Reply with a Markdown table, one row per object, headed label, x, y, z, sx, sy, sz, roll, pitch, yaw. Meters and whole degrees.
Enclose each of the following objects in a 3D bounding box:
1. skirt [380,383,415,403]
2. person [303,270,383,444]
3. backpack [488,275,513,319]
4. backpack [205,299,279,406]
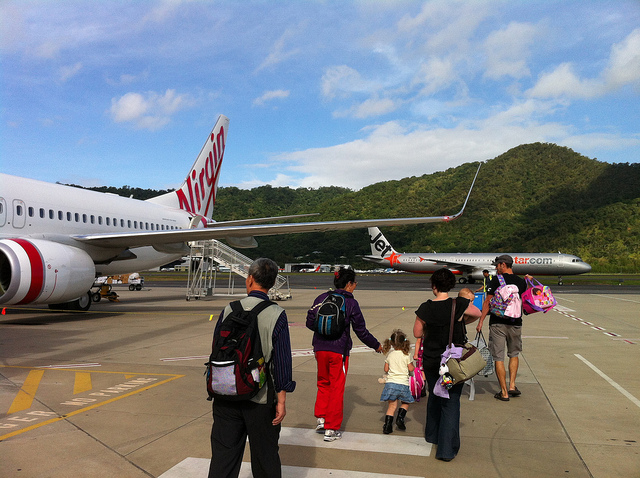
| label | x | y | z | sx | sy | sz | roll | pitch | yaw |
| --- | --- | --- | --- | --- | --- | --- | --- | --- | --- |
| skirt | 1.185 | 2.358 | 6.487 | 0.525 | 0.261 | 0.315 | 1 | 2 | 0 |
| person | 0.318 | 1.729 | 6.724 | 1.014 | 2.495 | 1.577 | 0 | -2 | 4 |
| backpack | 3.514 | 1.127 | 8.124 | 0.312 | 0.832 | 0.434 | 1 | -2 | -11 |
| backpack | -0.772 | 1.151 | 4.165 | 0.695 | 1.040 | 0.401 | 1 | -2 | -12 |
